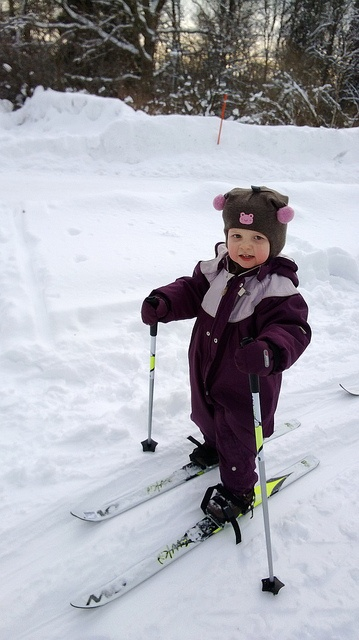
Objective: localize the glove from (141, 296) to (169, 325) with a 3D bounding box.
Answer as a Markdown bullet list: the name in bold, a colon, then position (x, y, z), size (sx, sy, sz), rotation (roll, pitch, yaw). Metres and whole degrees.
- **glove**: position (-0.152, -0.063, 3.602), size (0.138, 0.173, 0.187), rotation (4, 13, 10)

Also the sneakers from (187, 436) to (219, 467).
- **sneakers**: position (0.182, 0.871, 3.921), size (0.238, 0.238, 0.146), rotation (5, 15, 23)

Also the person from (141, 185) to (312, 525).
- **person**: position (0.292, 0.220, 3.401), size (0.589, 1.974, 1.013), rotation (-8, 23, -38)

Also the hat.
- **hat**: position (0.430, -0.591, 3.334), size (0.487, 0.406, 0.324), rotation (15, 28, 21)

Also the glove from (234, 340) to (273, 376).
- **glove**: position (0.380, 0.195, 2.925), size (0.199, 0.182, 0.109), rotation (12, 19, 18)
